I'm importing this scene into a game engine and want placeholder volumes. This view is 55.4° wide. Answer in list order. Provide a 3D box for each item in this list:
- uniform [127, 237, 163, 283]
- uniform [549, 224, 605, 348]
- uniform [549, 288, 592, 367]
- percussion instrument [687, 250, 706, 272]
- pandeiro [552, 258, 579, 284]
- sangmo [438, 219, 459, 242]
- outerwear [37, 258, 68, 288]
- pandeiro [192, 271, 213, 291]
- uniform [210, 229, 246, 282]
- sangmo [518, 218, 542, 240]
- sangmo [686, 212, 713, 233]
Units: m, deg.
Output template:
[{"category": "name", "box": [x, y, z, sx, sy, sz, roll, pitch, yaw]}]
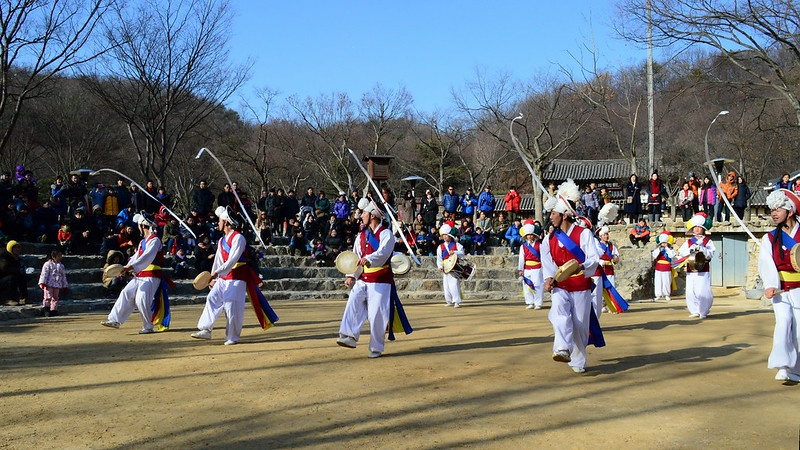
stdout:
[{"category": "uniform", "box": [-6.160, 0.798, 18.960, 1.019, 1.284, 1.087, 6, -1, -22]}, {"category": "uniform", "box": [4.045, 1.709, 16.635, 0.679, 2.321, 0.519, -11, 30, 3]}, {"category": "uniform", "box": [3.712, 2.273, 16.544, 0.879, 1.732, 0.715, 2, 14, 10]}, {"category": "percussion instrument", "box": [8.095, 0.978, 20.738, 0.531, 0.482, 0.206, -11, 12, -24]}, {"category": "pandeiro", "box": [3.608, 0.966, 16.564, 0.507, 0.484, 0.129, 31, 18, -24]}, {"category": "sangmo", "box": [1.453, 0.076, 23.794, 0.629, 0.636, 0.706, 3, -8, 27]}, {"category": "outerwear", "box": [-9.773, 1.391, 21.441, 0.514, 0.767, 0.867, -8, -14, 25]}, {"category": "pandeiro", "box": [-4.870, 1.324, 18.757, 0.495, 0.476, 0.112, 26, 24, -42]}, {"category": "uniform", "box": [-4.092, 0.743, 18.244, 0.768, 1.132, 0.287, 18, -8, 32]}, {"category": "sangmo", "box": [3.739, 0.054, 22.386, 0.630, 0.612, 0.820, 0, -17, 24]}, {"category": "sangmo", "box": [8.374, -0.054, 21.101, 0.686, 0.250, 0.660, -7, 9, 14]}]
